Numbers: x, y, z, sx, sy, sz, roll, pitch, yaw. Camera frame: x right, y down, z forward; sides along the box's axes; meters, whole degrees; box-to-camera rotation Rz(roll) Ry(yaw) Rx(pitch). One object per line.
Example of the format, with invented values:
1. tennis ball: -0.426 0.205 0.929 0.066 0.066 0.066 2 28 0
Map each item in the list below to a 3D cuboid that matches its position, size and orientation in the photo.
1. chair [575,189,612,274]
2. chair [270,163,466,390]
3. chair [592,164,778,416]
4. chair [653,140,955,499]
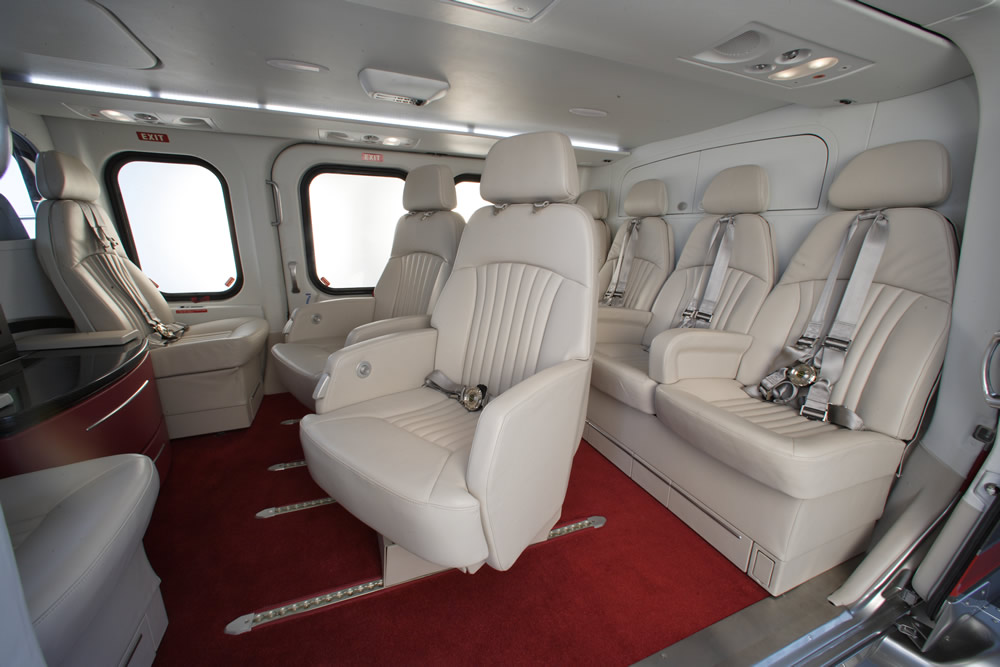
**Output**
1. chair: 0.889 -1.009 6.027 0.504 0.793 0.664 -1 3 13
2. chair: -0.945 -0.352 4.185 1.410 1.690 1.353 -4 19 -16
3. chair: 1.202 -0.352 4.103 1.193 1.646 1.141 -3 14 -27
4. chair: 1.746 -0.193 3.351 1.527 1.879 1.400 -1 12 -14
